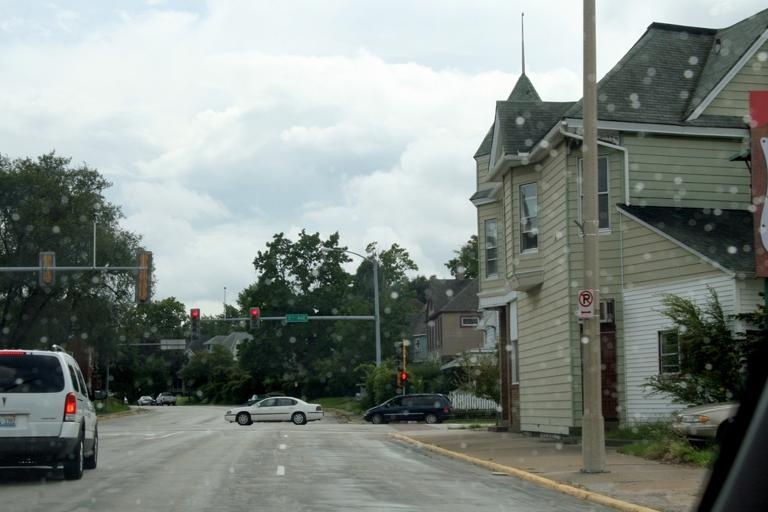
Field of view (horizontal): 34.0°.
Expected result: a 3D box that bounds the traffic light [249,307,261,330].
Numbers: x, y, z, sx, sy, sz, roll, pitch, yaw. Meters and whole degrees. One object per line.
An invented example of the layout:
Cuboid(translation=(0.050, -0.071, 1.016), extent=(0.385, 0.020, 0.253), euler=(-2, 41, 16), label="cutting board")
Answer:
Cuboid(translation=(-6.908, 3.314, 67.481), extent=(0.452, 1.037, 1.153), euler=(0, -10, -3), label="traffic light")

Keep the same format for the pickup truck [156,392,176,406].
Cuboid(translation=(-22.711, 15.024, 131.280), extent=(1.302, 1.107, 3.037), euler=(1, -3, -21), label="pickup truck")
